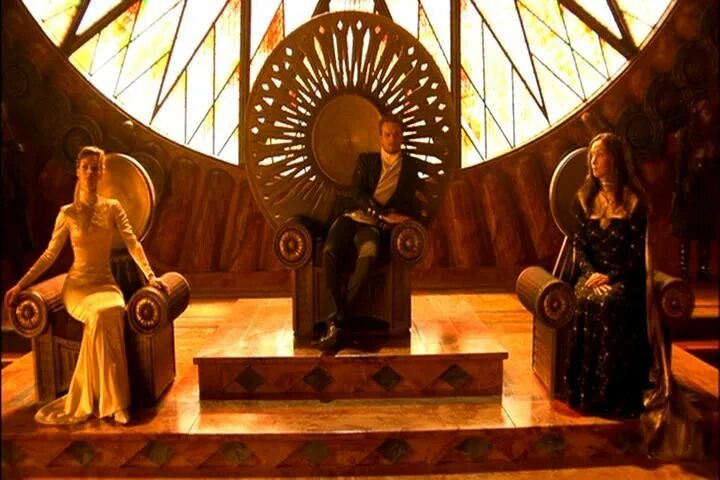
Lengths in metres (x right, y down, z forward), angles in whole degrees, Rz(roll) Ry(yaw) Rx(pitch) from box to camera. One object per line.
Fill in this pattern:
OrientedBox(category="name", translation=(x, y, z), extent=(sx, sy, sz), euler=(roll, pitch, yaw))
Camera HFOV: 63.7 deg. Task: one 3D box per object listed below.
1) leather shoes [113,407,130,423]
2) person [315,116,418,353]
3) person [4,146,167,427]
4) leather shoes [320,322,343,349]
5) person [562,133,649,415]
OrientedBox(category="leather shoes", translation=(-1.878, 1.371, 4.523), extent=(0.111, 0.109, 0.083), euler=(-7, 15, -22))
OrientedBox(category="person", translation=(0.064, -0.116, 5.120), extent=(1.020, 1.889, 0.654), euler=(-5, 14, -18))
OrientedBox(category="person", translation=(-2.167, 0.332, 4.615), extent=(1.002, 2.060, 0.915), euler=(-13, 18, -41))
OrientedBox(category="leather shoes", translation=(-0.255, 0.806, 4.906), extent=(0.103, 0.142, 0.314), euler=(2, -33, -2))
OrientedBox(category="person", translation=(2.046, 0.265, 4.650), extent=(0.652, 2.123, 0.748), euler=(5, 14, 22))
